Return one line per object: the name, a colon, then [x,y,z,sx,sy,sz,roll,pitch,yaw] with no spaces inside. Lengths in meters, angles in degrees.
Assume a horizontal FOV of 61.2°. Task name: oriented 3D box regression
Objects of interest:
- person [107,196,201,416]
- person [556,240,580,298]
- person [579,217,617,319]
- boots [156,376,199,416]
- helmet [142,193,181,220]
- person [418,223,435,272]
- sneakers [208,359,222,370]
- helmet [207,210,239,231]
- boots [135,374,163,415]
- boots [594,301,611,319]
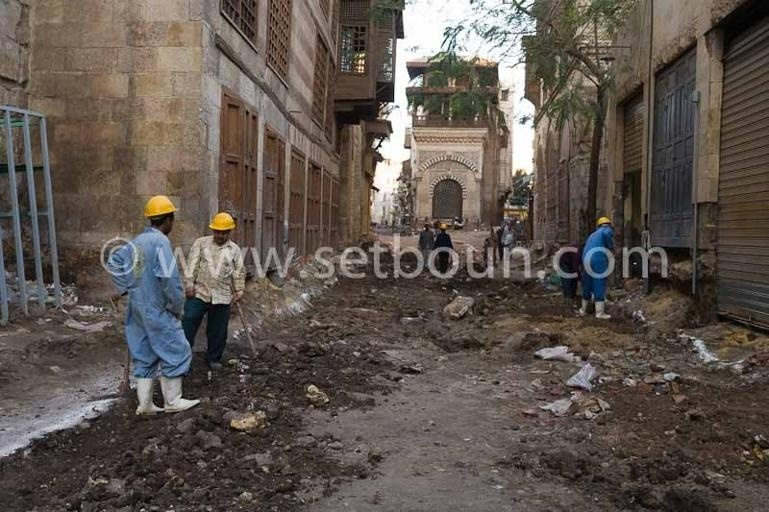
person: [-2.979,0.645,8.371,0.826,2.744,0.659,-10,11,-23]
person: [4.286,0.340,14.808,0.328,1.367,0.408,0,16,-33]
person: [4.333,0.262,13.330,0.693,1.988,1.291,-3,11,18]
boots: [-2.666,1.789,8.396,0.522,0.584,0.296,-2,4,-22]
helmet: [-3.250,-0.749,9.547,0.422,0.311,0.546,5,20,33]
person: [1.482,-0.524,22.893,0.526,1.417,1.006,-5,10,4]
sneakers: [-2.529,1.631,9.707,0.106,0.176,0.166,-11,-24,18]
helmet: [-2.458,-0.527,9.951,0.472,0.361,0.642,8,7,-3]
boots: [-3.051,1.778,8.329,0.347,0.479,0.228,-10,11,-23]
boots: [4.377,1.083,13.123,0.398,0.457,0.206,-4,5,-5]
